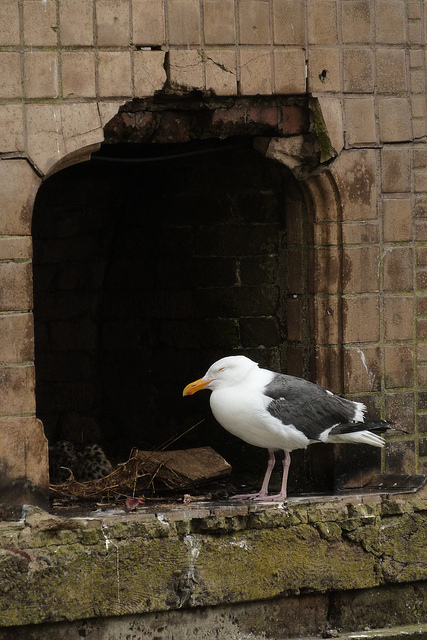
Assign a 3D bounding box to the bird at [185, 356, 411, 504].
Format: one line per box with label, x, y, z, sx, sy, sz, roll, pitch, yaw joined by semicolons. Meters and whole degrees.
bird;0.352;0.575;7.665;0.948;0.753;0.341;0;13;-2
